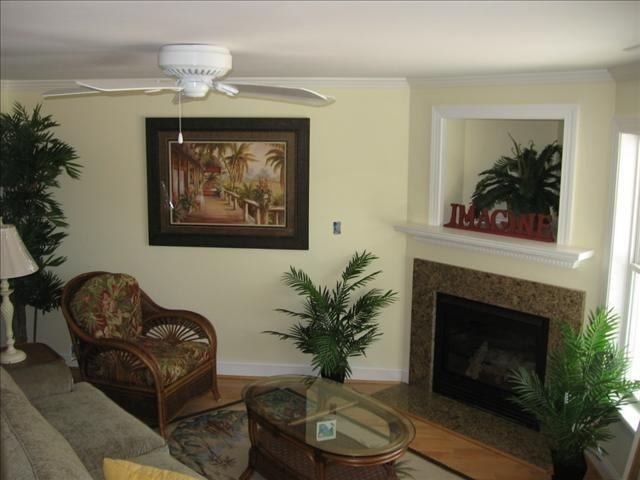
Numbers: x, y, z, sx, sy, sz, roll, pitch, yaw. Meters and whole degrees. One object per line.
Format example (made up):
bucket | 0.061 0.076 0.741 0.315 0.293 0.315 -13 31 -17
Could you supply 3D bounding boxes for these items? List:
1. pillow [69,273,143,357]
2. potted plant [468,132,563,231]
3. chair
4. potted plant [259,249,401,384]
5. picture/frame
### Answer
pillow | -1.932 0.527 4.141 0.255 0.626 0.706 -9 -24 8
potted plant | 1.695 -0.565 4.205 0.772 0.531 0.747 -11 22 -13
chair | -1.583 0.879 4.134 1.236 0.969 0.906 8 12 13
potted plant | 0.096 0.831 4.513 1.202 0.918 0.911 7 -26 -15
picture/frame | -0.863 -0.610 4.647 1.419 1.022 0.097 1 5 2
